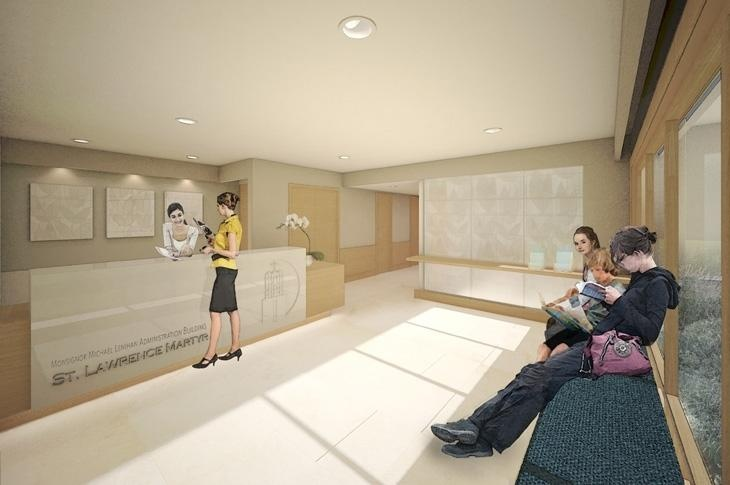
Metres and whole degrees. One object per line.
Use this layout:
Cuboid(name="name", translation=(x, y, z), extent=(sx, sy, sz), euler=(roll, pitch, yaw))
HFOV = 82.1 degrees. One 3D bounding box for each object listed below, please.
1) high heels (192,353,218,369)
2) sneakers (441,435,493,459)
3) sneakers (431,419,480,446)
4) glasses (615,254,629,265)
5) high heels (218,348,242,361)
Cuboid(name="high heels", translation=(-1.832, 1.366, 4.810), extent=(0.234, 0.108, 0.117), euler=(6, -8, -42))
Cuboid(name="sneakers", translation=(0.919, 1.825, 3.791), extent=(0.488, 0.231, 0.169), euler=(1, -10, 8))
Cuboid(name="sneakers", translation=(0.786, 1.665, 3.733), extent=(0.447, 0.176, 0.221), euler=(2, 22, 10))
Cuboid(name="glasses", translation=(2.180, 0.134, 3.553), extent=(0.083, 0.040, 0.112), euler=(1, 4, 11))
Cuboid(name="high heels", translation=(-1.577, 1.324, 4.964), extent=(0.332, 0.157, 0.109), euler=(5, -4, -9))
